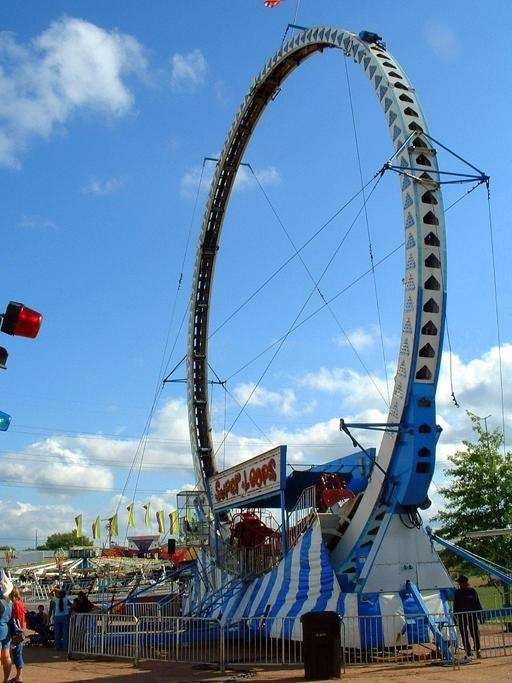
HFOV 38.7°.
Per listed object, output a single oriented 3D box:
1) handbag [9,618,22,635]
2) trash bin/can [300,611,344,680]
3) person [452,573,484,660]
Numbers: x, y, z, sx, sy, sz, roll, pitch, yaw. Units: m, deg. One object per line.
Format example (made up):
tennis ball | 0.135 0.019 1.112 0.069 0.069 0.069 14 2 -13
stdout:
handbag | -3.579 4.222 10.842 0.162 0.212 0.059 -10 3 14
trash bin/can | 1.033 4.820 11.618 0.603 0.971 0.660 -3 -17 2
person | 4.205 5.413 14.558 0.545 1.415 1.947 -7 -17 13
